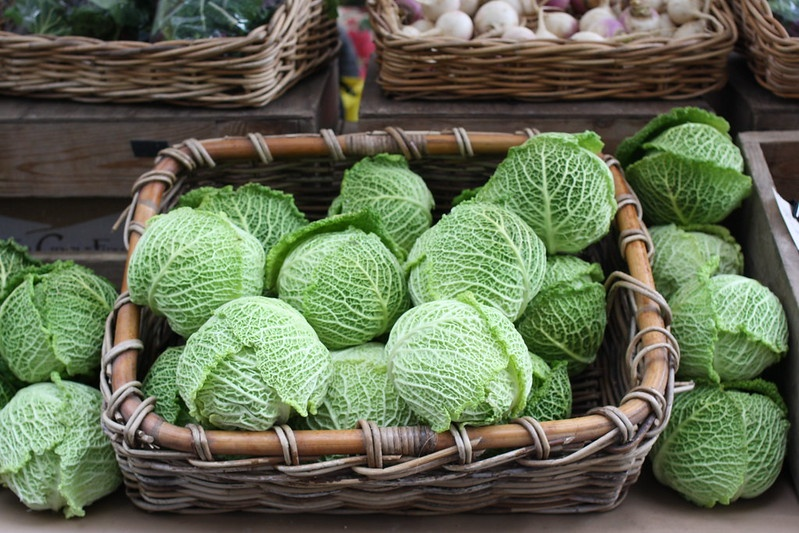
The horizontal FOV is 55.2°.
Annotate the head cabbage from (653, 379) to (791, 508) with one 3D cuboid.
[{"bbox_3d":[1.054,0.588,2.552,0.390,0.355,0.243,5,27,20],"label":"head cabbage"}]

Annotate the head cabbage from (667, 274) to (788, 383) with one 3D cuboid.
[{"bbox_3d":[1.136,0.187,2.692,0.378,0.328,0.330,-13,5,-35],"label":"head cabbage"}]

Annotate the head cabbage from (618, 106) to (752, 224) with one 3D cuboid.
[{"bbox_3d":[1.065,-0.363,2.873,0.482,0.430,0.234,3,26,15],"label":"head cabbage"}]
